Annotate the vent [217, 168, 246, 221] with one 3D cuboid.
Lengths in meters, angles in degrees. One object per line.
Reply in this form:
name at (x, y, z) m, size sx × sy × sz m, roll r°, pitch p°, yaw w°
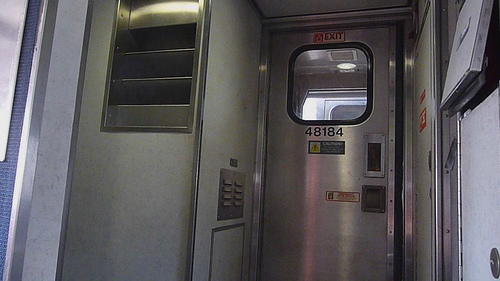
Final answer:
vent at (-0.157, 0.505, 3.627) m, size 0.081 × 0.438 × 0.655 m, roll -1°, pitch -9°, yaw 19°
